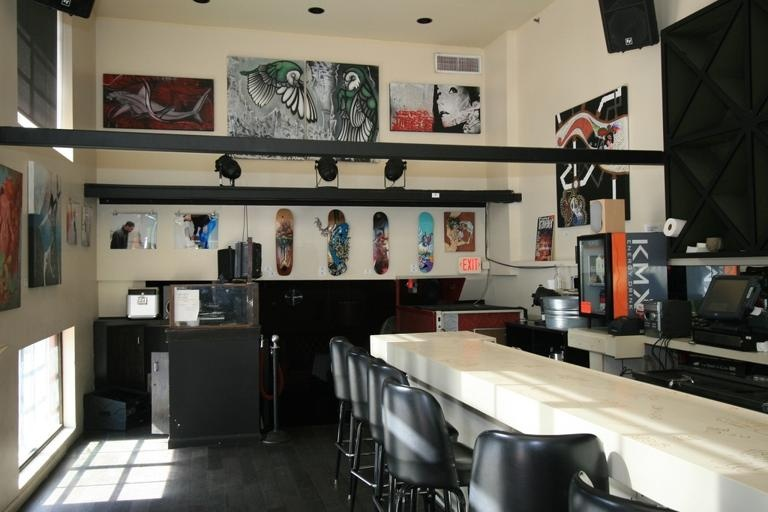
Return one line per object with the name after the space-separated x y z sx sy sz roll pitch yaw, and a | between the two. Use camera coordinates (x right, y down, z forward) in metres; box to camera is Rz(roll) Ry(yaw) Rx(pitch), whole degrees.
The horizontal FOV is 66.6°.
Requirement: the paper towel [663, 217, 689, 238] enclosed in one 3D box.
3.103 -0.299 6.288 0.234 0.215 0.206 3 7 34 | paper towel

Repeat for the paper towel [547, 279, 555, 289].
2.234 0.376 7.863 0.118 0.167 0.160 -1 0 16 | paper towel

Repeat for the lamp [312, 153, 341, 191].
-0.845 -1.249 9.029 0.444 0.538 0.507 2 41 -19 | lamp

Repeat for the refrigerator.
2.958 0.288 6.705 0.669 0.957 0.574 -4 -9 38 | refrigerator

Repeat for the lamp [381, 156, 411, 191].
0.166 -1.299 9.313 0.517 0.688 0.451 1 -13 -1 | lamp

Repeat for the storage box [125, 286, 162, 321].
-3.516 0.688 8.565 0.443 0.435 0.227 -4 6 -25 | storage box

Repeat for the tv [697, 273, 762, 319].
3.285 0.399 5.582 0.280 0.443 0.487 -3 6 -21 | tv

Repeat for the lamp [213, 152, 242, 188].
-2.201 -1.207 8.258 0.299 0.439 0.317 -2 6 -11 | lamp
